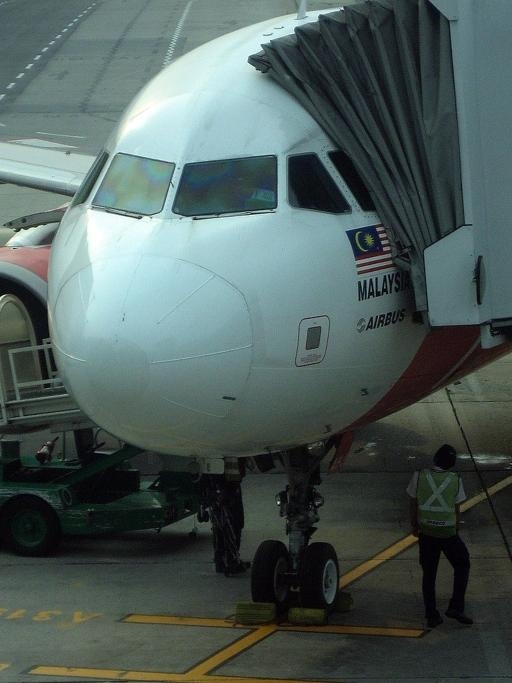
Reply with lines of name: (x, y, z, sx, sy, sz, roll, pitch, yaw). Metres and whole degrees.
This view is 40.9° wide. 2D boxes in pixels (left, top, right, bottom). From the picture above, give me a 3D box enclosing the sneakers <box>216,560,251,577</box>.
sneakers: (-0.364, 3.690, 11.280, 0.436, 0.132, 0.289, 0, 2, -22)
